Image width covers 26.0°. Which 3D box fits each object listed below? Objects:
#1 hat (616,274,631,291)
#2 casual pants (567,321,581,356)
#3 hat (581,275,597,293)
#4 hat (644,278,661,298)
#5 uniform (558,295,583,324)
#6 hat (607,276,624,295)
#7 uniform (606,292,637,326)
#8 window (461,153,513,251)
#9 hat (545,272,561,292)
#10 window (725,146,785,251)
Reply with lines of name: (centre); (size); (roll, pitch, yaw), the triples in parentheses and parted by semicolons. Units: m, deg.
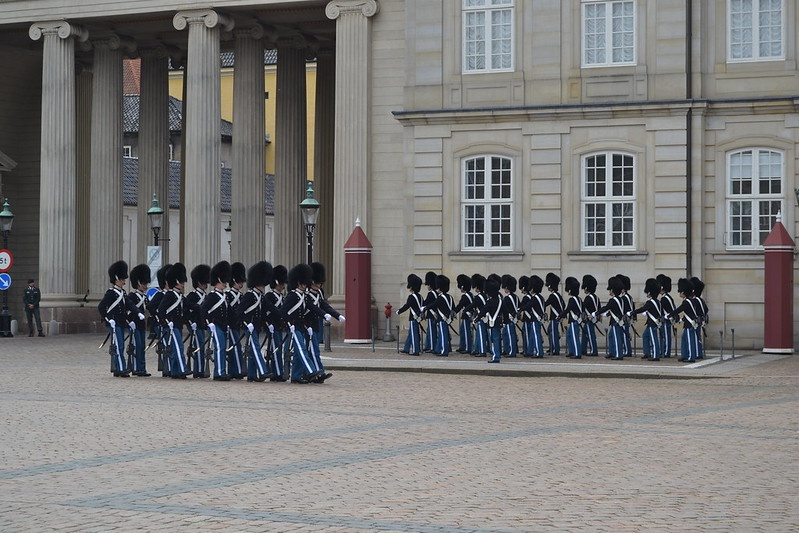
hat: (5.762, 0.431, 44.324); (0.376, 0.423, 0.394); (10, -50, -10)
casual pants: (4.399, 1.846, 44.066); (0.332, 0.920, 0.241); (-3, -3, 3)
hat: (4.840, 0.442, 44.506); (0.369, 0.480, 0.432); (-2, -3, 4)
hat: (6.341, 0.521, 43.550); (0.393, 0.494, 0.619); (-3, -3, 8)
uniform: (4.382, 1.074, 44.204); (0.688, 0.836, 0.753); (0, -4, 29)
hat: (5.381, 0.481, 43.978); (0.385, 0.368, 0.454); (11, 32, -15)
uniform: (5.587, 1.084, 43.913); (1.064, 0.896, 0.587); (-1, -8, -9)
window: (2.368, -1.791, 47.720); (1.455, 2.629, 0.193); (-3, -3, 20)
hat: (3.930, 0.394, 44.870); (0.334, 0.524, 0.815); (-3, -3, 4)
window: (9.358, -1.850, 45.890); (1.505, 2.652, 0.207); (-3, -3, 21)
